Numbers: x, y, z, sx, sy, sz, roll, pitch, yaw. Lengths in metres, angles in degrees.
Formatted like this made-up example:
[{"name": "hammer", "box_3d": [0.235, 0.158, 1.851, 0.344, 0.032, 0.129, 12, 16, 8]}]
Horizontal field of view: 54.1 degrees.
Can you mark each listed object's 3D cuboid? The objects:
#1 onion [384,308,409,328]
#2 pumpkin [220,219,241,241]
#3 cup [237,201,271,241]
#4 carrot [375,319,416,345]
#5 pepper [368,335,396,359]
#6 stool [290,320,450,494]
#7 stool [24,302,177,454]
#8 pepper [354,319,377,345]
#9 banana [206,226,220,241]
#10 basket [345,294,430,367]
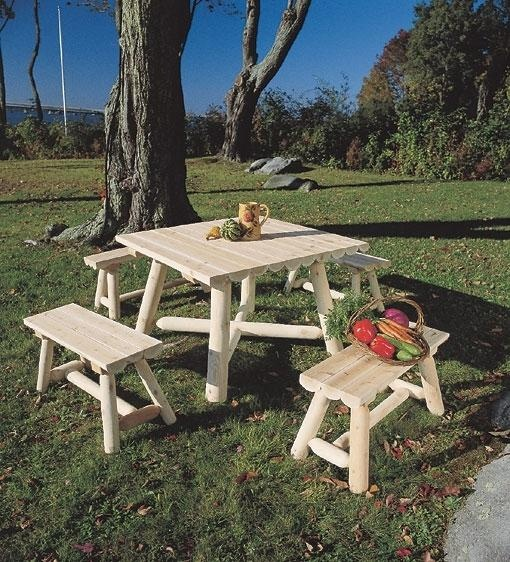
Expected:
[{"name": "onion", "box_3d": [0.898, 0.232, 3.179, 0.114, 0.073, 0.135, 18, 14, -39]}, {"name": "pumpkin", "box_3d": [-0.197, -0.418, 4.180, 0.165, 0.166, 0.229, -4, 17, -20]}, {"name": "cup", "box_3d": [-0.022, -0.489, 4.136, 0.215, 0.328, 0.290, 1, 16, -2]}, {"name": "carrot", "box_3d": [0.843, 0.298, 3.051, 0.232, 0.070, 0.111, 26, 40, 26]}, {"name": "pepper", "box_3d": [0.762, 0.396, 2.972, 0.121, 0.082, 0.083, 47, 30, 3]}, {"name": "stool", "box_3d": [0.764, 0.733, 3.192, 0.564, 0.580, 1.082, 15, 25, 41]}, {"name": "stool", "box_3d": [-1.067, 0.508, 3.667, 1.320, 0.727, 0.709, 23, 35, 37]}, {"name": "pepper", "box_3d": [0.670, 0.307, 3.117, 0.145, 0.157, 0.150, 4, 15, 10]}, {"name": "banana", "box_3d": [-0.370, -0.394, 4.264, 0.055, 0.150, 0.084, 10, 47, -53]}, {"name": "basket", "box_3d": [0.816, 0.321, 3.058, 0.442, 0.193, 0.500, -22, 43, 1]}]
